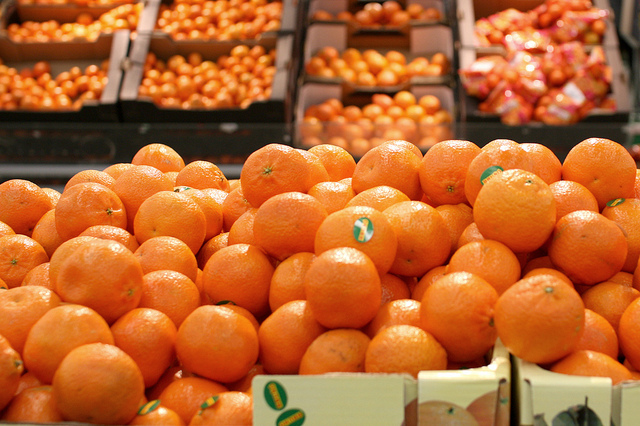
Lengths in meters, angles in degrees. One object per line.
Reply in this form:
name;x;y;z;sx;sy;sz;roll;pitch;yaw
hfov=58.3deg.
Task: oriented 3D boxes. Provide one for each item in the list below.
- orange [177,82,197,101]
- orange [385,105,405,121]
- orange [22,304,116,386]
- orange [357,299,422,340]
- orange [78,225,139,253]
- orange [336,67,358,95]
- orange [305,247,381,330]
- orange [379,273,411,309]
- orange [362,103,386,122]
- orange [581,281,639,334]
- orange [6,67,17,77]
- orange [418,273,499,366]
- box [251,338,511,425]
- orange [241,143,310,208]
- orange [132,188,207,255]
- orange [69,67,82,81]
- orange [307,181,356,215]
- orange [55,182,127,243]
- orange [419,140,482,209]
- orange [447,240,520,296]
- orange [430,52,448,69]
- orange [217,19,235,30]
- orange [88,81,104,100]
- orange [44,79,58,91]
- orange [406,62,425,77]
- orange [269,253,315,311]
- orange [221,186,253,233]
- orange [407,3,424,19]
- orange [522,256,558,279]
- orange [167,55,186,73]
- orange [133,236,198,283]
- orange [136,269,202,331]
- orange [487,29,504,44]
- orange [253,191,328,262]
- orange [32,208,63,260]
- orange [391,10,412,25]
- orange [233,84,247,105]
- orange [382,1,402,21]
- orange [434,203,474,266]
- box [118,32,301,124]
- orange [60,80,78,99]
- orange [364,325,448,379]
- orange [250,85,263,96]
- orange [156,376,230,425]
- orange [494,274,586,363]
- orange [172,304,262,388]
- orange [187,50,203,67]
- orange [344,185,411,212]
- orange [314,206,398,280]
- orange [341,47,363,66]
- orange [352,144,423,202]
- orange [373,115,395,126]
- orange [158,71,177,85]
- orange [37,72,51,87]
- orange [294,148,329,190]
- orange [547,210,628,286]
orange;-0.981;-0.901;4.212;0.109;0.132;0.120;5;60;-25
orange;0.539;-0.716;4.138;0.114;0.135;0.111;-12;13;-36
orange;-0.702;0.383;1.570;0.188;0.194;0.177;-4;-10;5
orange;0.198;0.275;1.617;0.144;0.122;0.124;14;32;43
orange;-0.642;0.062;1.782;0.114;0.110;0.109;9;-5;-29
orange;0.216;-0.999;4.368;0.186;0.235;0.192;2;2;9
orange;0.062;0.209;1.574;0.201;0.169;0.157;-1;46;-1
orange;0.215;0.227;1.699;0.084;0.089;0.105;12;34;25
orange;0.392;-0.718;4.178;0.132;0.162;0.136;1;3;1
orange;0.809;0.244;1.630;0.145;0.149;0.137;3;9;-2
orange;-2.341;-1.063;4.363;0.073;0.076;0.067;2;4;9
orange;0.403;0.278;1.588;0.203;0.247;0.211;-1;9;12
box;0.147;0.456;1.403;0.624;0.100;0.115;-1;46;-2
orange;-0.142;-0.126;1.916;0.188;0.202;0.187;-17;-3;25
orange;-0.473;0.000;1.894;0.183;0.201;0.227;-12;4;4
orange;-1.848;-1.063;4.381;0.086;0.106;0.090;-1;72;-5
orange;0.045;-0.057;1.892;0.112;0.087;0.111;0;5;1
orange;-0.783;0.023;1.917;0.204;0.244;0.205;15;-12;-35
orange;0.411;-0.114;1.797;0.124;0.126;0.142;-35;29;-8
orange;0.467;0.129;1.650;0.171;0.155;0.155;17;39;21
orange;0.922;-1.201;4.490;0.124;0.151;0.125;14;34;25
orange;-0.782;-1.562;4.722;0.097;0.102;0.120;13;11;16
orange;-1.626;-0.899;4.157;0.083;0.075;0.174;-32;55;-27
orange;-2.027;-0.955;4.304;0.061;0.063;0.083;30;-11;1
orange;0.723;-1.093;4.390;0.110;0.114;0.113;5;13;10
orange;-0.099;0.247;1.723;0.115;0.114;0.136;0;-10;-26
orange;-0.278;-0.006;1.924;0.110;0.139;0.114;17;10;14
orange;0.787;-1.686;4.780;0.127;0.064;0.158;-31;55;-27
orange;0.651;0.155;1.695;0.062;0.079;0.064;1;5;0
orange;-1.094;-1.129;4.355;0.100;0.118;0.103;29;26;4
orange;-0.468;0.133;1.735;0.165;0.143;0.139;16;15;-22
orange;-0.448;0.250;1.750;0.182;0.155;0.159;29;65;-17
orange;1.394;-1.399;4.548;0.106;0.132;0.106;2;3;-9
orange;-0.102;0.043;1.795;0.207;0.241;0.199;-18;35;-33
orange;-0.893;0.075;1.880;0.101;0.124;0.102;18;22;-22
orange;0.661;-1.624;4.750;0.146;0.151;0.153;0;53;-5
orange;-0.579;-0.855;4.134;0.110;0.138;0.113;4;3;6
orange;0.611;-1.700;4.913;0.156;0.198;0.162;-1;-1;22
orange;0.417;0.067;1.779;0.162;0.199;0.161;0;3;2
box;-0.791;-0.987;4.149;1.227;0.372;0.923;3;47;2
orange;-1.885;-0.937;4.309;0.114;0.094;0.160;-22;50;-20
orange;0.224;0.338;1.479;0.159;0.130;0.128;-1;6;-28
orange;-0.456;-0.864;4.074;0.095;0.040;0.122;1;47;0
orange;-0.345;0.488;1.541;0.127;0.129;0.123;24;19;-14
orange;0.548;0.259;1.533;0.213;0.216;0.218;5;7;-1
orange;-0.304;0.352;1.643;0.191;0.200;0.186;11;55;-57
orange;-0.972;-1.198;4.433;0.116;0.147;0.118;4;-6;-10
orange;0.178;-0.048;1.839;0.129;0.092;0.162;-12;16;-42
orange;0.119;0.046;1.705;0.207;0.215;0.221;3;29;-19
orange;0.269;-1.243;4.596;0.167;0.206;0.168;4;6;24
orange;0.213;-0.117;1.950;0.192;0.206;0.188;-4;-6;-13
orange;0.450;-0.614;3.989;0.132;0.138;0.134;1;6;4
orange;-1.124;-0.997;4.226;0.110;0.067;0.094;-12;21;16
orange;-2.099;-1.009;4.347;0.085;0.089;0.126;7;31;-7
orange;-0.010;-0.154;1.921;0.114;0.145;0.119;-5;9;21
orange;0.751;0.091;1.697;0.201;0.206;0.204;8;1;-37
